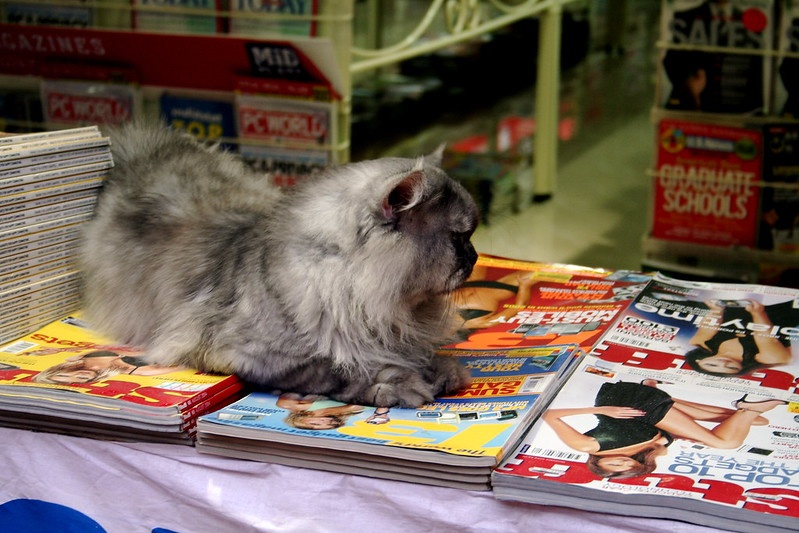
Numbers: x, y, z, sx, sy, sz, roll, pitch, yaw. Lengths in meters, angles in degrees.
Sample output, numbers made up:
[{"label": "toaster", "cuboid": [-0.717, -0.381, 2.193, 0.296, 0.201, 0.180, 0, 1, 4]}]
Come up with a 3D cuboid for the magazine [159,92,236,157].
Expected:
[{"label": "magazine", "cuboid": [-0.428, -0.303, 1.393, 0.199, 0.155, 0.023, 10, 37, 14]}]

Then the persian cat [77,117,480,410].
[{"label": "persian cat", "cuboid": [-0.210, -0.040, 1.213, 0.861, 0.330, 0.477, 12, 24, 31]}]

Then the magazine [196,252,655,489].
[{"label": "magazine", "cuboid": [0.038, 0.162, 0.990, 0.348, 0.036, 0.559, 8, 20, 26]}]
